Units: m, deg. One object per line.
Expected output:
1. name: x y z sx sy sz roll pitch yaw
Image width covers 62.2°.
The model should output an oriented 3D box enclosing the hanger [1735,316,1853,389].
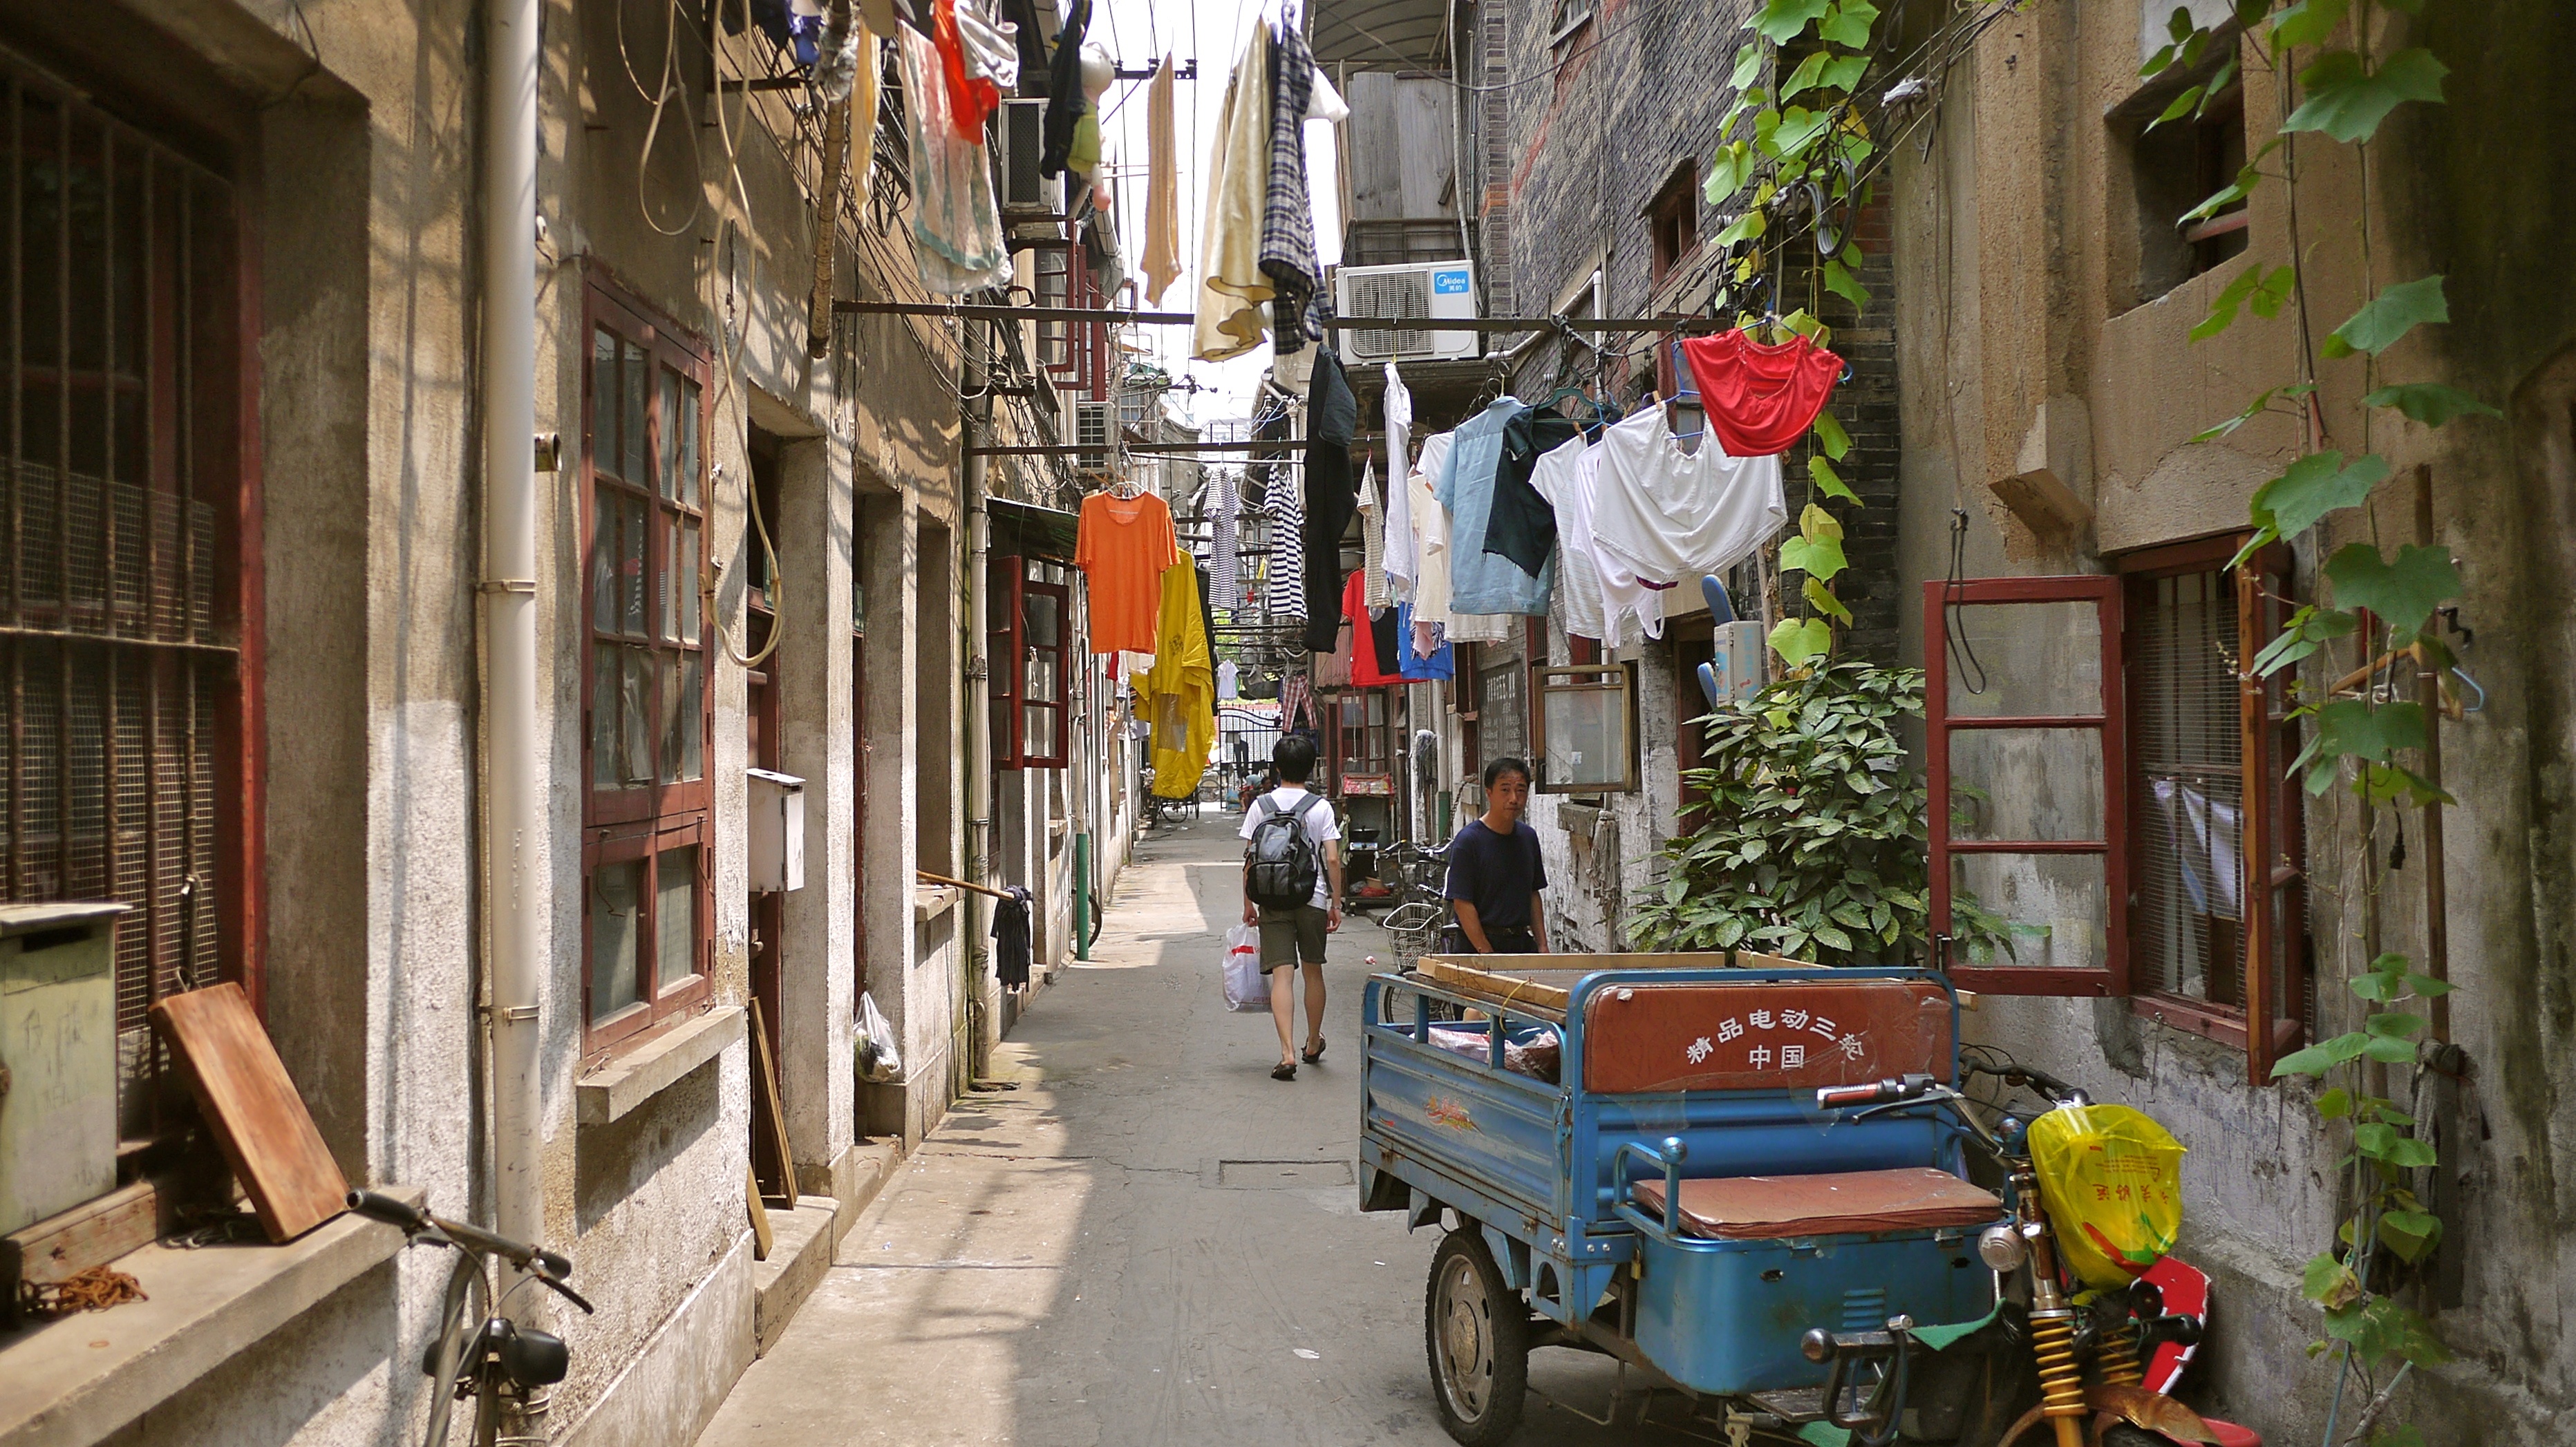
1. hanger: 2.746 -2.045 11.645 0.569 0.370 1.278 0 6 16

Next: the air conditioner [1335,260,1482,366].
1. air conditioner: 1.126 -3.876 21.005 1.422 1.017 0.860 -4 -7 -9

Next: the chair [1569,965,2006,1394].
1. chair: 1.884 1.765 8.453 1.466 1.036 1.507 0 6 -6

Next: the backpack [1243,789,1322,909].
1. backpack: -0.034 0.833 14.096 0.470 0.709 0.312 -1 7 -1

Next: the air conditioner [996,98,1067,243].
1. air conditioner: -1.724 -3.682 13.882 0.524 0.663 0.708 1 14 -5
